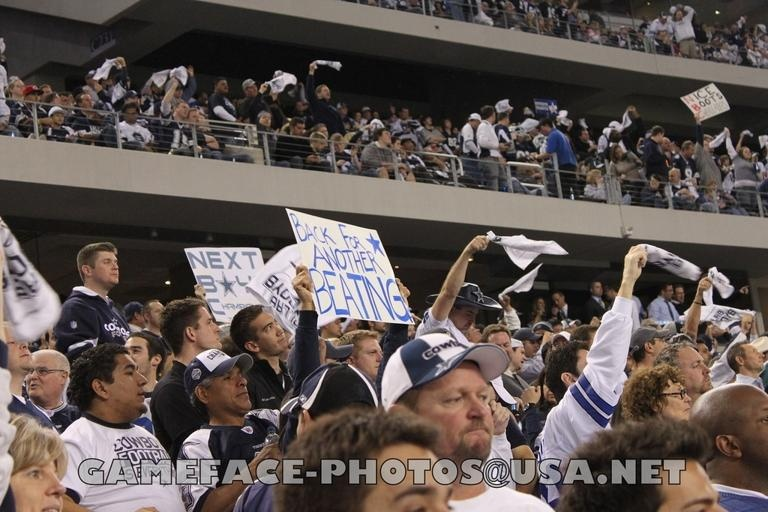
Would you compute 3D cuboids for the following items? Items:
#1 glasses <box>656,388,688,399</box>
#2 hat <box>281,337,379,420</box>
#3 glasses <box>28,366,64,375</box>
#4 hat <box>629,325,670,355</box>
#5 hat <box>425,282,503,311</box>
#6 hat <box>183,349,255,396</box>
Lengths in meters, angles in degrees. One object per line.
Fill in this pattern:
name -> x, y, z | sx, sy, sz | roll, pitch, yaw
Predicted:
glasses -> 2.543, 1.175, 9.514 | 0.285, 0.091, 0.069 | 5, -6, -42
hat -> -0.424, 1.021, 8.675 | 0.616, 0.335, 0.410 | 4, 4, 11
glasses -> -3.184, 1.064, 10.334 | 0.314, 0.071, 0.082 | 2, -5, -17
hat -> 2.765, 0.818, 11.389 | 0.391, 0.148, 0.253 | -20, 5, -16
hat -> 0.773, 0.472, 11.263 | 0.472, 0.176, 0.440 | -4, -16, 36
hat -> -1.572, 0.991, 9.994 | 0.629, 0.336, 0.393 | -36, -8, 15
